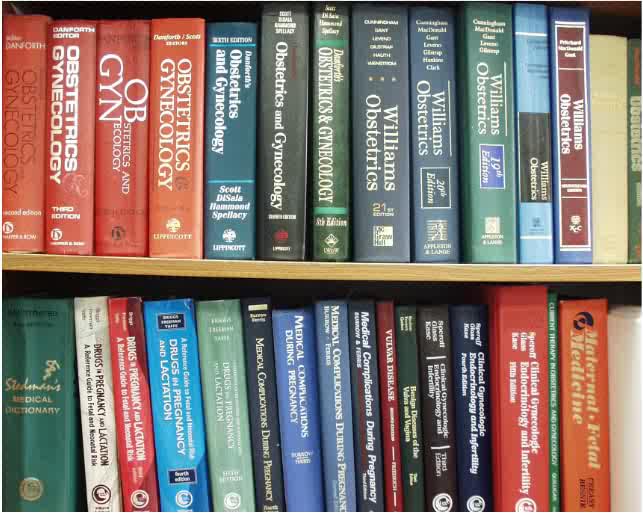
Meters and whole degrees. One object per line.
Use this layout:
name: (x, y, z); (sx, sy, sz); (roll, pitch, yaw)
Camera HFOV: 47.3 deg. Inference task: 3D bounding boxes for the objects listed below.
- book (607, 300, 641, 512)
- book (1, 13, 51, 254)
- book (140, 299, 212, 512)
book: (0.536, 0.269, 1.288); (0.070, 0.376, 0.040); (-4, -1, 24)
book: (-0.512, -0.212, 1.265); (0.101, 0.338, 0.021); (-4, -1, 4)
book: (-0.255, 0.264, 1.283); (0.071, 0.305, 0.222); (1, -2, -3)
